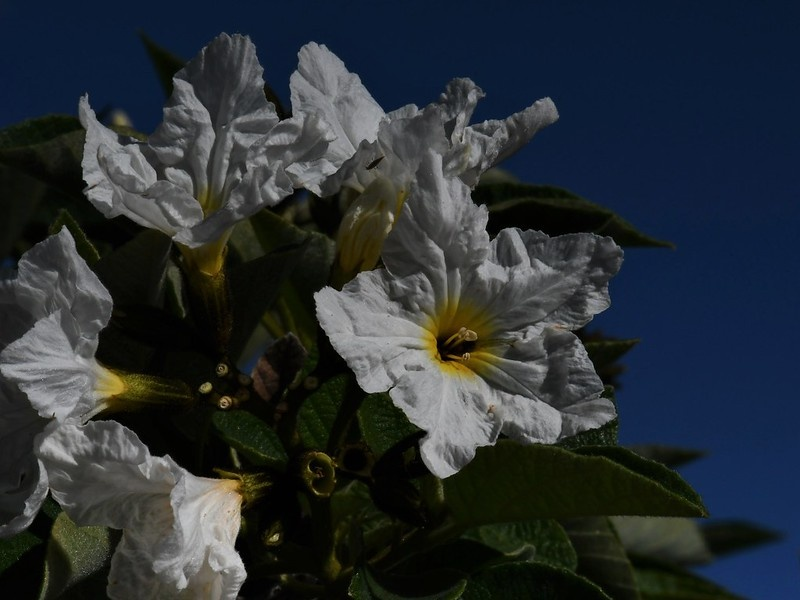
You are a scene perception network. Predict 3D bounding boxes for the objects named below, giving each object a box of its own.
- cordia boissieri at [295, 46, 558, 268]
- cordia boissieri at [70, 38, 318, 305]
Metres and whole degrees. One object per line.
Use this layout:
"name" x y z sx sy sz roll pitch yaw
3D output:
"cordia boissieri" 0.022 -0.171 1.116 0.283 0.157 0.330 -8 0 -13
"cordia boissieri" -0.191 -0.146 1.096 0.205 0.202 0.234 5 -14 -30
